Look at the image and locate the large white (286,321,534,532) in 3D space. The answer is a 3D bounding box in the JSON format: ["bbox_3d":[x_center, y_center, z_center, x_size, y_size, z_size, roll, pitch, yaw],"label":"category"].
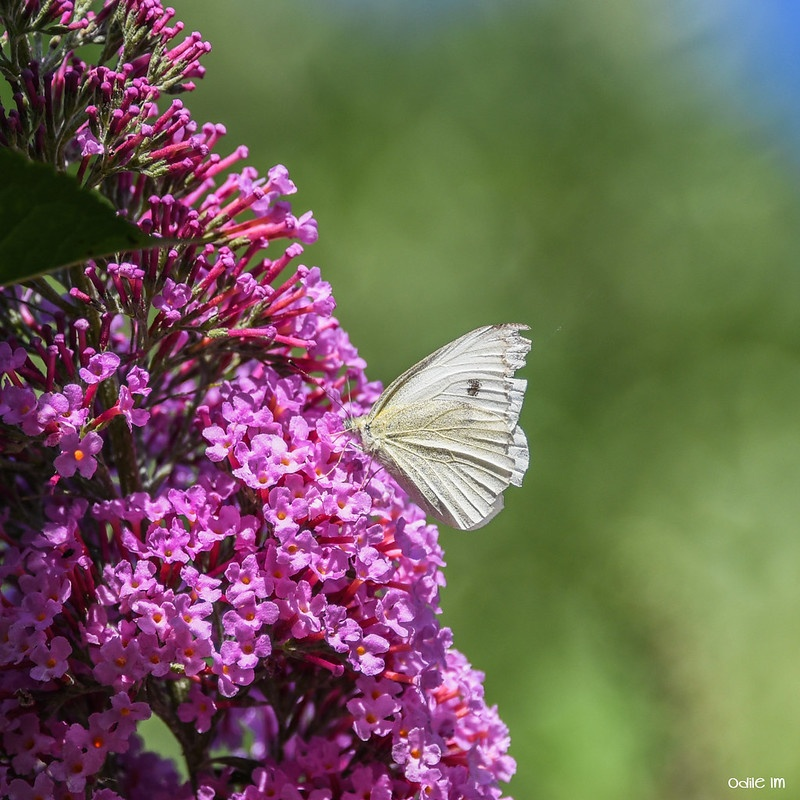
[{"bbox_3d":[0.032,0.087,2.827,0.441,0.377,0.502,20,1,-1],"label":"large white"}]
